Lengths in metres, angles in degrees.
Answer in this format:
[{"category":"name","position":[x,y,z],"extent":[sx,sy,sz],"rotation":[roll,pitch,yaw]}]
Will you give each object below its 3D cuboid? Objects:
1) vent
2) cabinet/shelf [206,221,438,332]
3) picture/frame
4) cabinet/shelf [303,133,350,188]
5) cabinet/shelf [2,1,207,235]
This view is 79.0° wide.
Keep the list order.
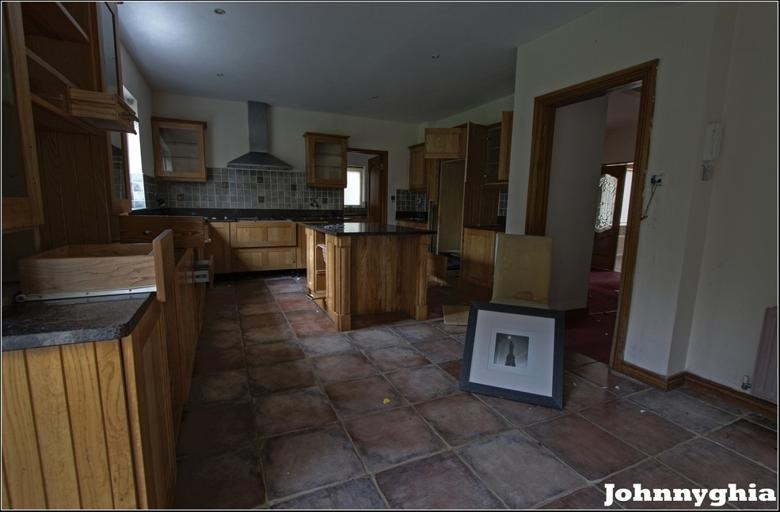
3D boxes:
[{"category":"vent","position":[-1.801,-1.699,6.710],"extent":[0.940,0.864,0.962],"rotation":[8,16,16]},{"category":"cabinet/shelf","position":[-0.307,-0.078,5.905],"extent":[2.655,0.949,2.937],"rotation":[-11,17,-43]},{"category":"picture/frame","position":[0.879,0.732,3.367],"extent":[0.733,0.674,0.052],"rotation":[4,-9,15]},{"category":"cabinet/shelf","position":[-0.952,-1.395,6.875],"extent":[0.842,0.913,0.293],"rotation":[-2,6,-29]},{"category":"cabinet/shelf","position":[-2.013,-1.038,3.400],"extent":[0.714,1.836,1.927],"rotation":[-5,10,-26]}]
